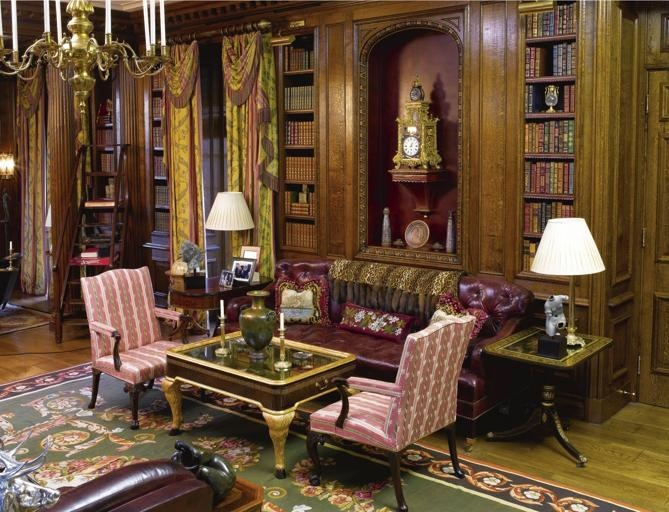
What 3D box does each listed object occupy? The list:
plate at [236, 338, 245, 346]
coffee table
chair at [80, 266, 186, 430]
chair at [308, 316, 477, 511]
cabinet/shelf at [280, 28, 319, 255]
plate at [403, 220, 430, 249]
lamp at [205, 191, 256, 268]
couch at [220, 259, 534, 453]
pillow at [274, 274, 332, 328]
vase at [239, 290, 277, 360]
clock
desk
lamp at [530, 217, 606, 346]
[{"bbox_3d":[-0.805,0.751,4.771,0.074,0.017,0.071,10,13,37],"label":"plate"},{"bbox_3d":[-0.622,1.143,4.528,1.430,0.687,1.121,4,7,28],"label":"coffee table"},{"bbox_3d":[-1.801,0.812,5.119,1.004,1.202,0.981,4,10,11],"label":"chair"},{"bbox_3d":[0.503,0.901,4.264,1.217,1.513,1.134,6,8,38],"label":"chair"},{"bbox_3d":[-0.404,-1.249,6.378,0.497,2.441,0.290,1,7,3],"label":"cabinet/shelf"},{"bbox_3d":[0.887,-0.244,5.920,0.279,0.287,0.228,3,9,22],"label":"plate"},{"bbox_3d":[-1.189,-0.466,6.426,0.556,0.538,0.565,-13,20,-43],"label":"lamp"},{"bbox_3d":[0.310,0.770,5.450,1.093,1.319,3.163,0,2,-44],"label":"couch"},{"bbox_3d":[-0.304,0.482,5.653,0.537,0.477,0.074,0,-6,13],"label":"pillow"},{"bbox_3d":[-0.605,0.562,4.433,0.300,0.496,0.301,0,7,0],"label":"vase"},{"bbox_3d":[0.882,-1.378,5.701,0.461,0.935,0.352,3,9,22],"label":"clock"},{"bbox_3d":[1.769,0.955,4.431,1.015,0.932,1.008,5,6,44],"label":"desk"},{"bbox_3d":[1.851,0.201,4.265,0.465,1.001,0.673,6,11,35],"label":"lamp"}]
